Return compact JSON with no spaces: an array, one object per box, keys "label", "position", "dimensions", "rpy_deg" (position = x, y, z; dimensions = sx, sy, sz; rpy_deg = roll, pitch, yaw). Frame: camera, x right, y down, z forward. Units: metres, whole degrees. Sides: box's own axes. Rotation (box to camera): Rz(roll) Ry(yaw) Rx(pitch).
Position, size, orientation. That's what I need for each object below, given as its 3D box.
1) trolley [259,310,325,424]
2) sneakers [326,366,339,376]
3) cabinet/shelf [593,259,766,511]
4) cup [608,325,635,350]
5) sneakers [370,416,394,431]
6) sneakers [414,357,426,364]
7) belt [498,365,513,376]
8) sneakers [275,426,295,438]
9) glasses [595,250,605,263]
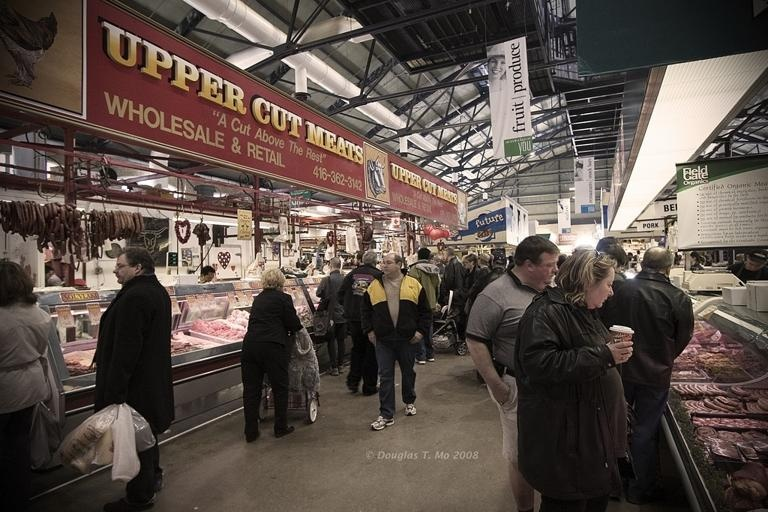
[{"label":"trolley","position":[-1.095,1.491,6.092],"dimensions":[0.752,1.106,0.721],"rpy_deg":[21,-20,-41]},{"label":"sneakers","position":[-0.850,1.933,8.181],"dimensions":[0.097,0.109,0.260],"rpy_deg":[1,-1,-4]},{"label":"cabinet/shelf","position":[2.412,1.062,4.537],"dimensions":[0.723,2.252,0.560],"rpy_deg":[-2,5,-15]},{"label":"cup","position":[1.643,0.544,3.349],"dimensions":[0.157,0.130,0.160],"rpy_deg":[0,2,0]},{"label":"sneakers","position":[-0.023,2.057,5.929],"dimensions":[0.311,0.136,0.120],"rpy_deg":[9,-20,-28]},{"label":"sneakers","position":[0.676,1.903,8.786],"dimensions":[0.077,0.089,0.207],"rpy_deg":[2,-12,-13]},{"label":"belt","position":[1.010,0.941,3.997],"dimensions":[0.098,0.072,0.046],"rpy_deg":[18,7,31]},{"label":"sneakers","position":[-1.170,2.060,5.756],"dimensions":[0.077,0.101,0.238],"rpy_deg":[4,6,25]},{"label":"glasses","position":[1.528,0.002,3.426],"dimensions":[0.078,0.059,0.033],"rpy_deg":[28,-40,-18]}]
